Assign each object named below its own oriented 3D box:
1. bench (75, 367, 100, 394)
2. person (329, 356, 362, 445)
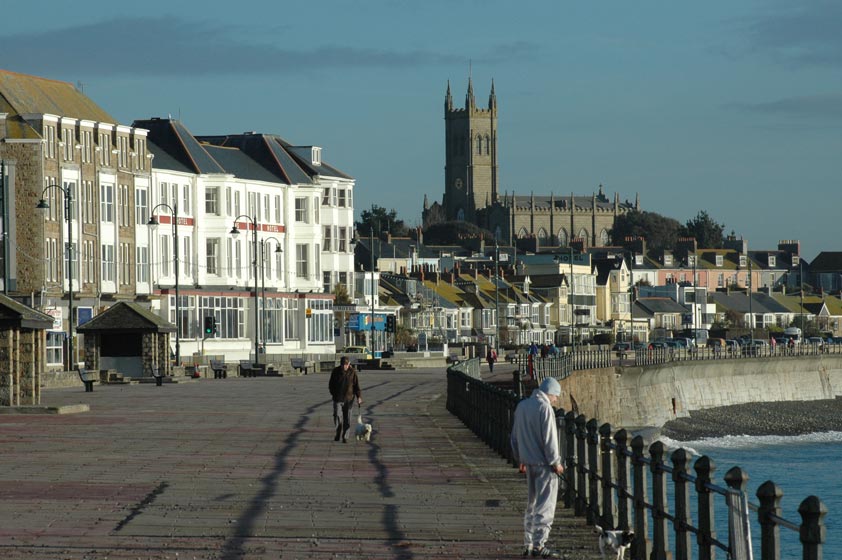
[{"bbox_3d":[-14.453,4.489,77.456,1.117,1.466,1.179,-1,-2,21],"label":"bench"},{"bbox_3d":[-2.475,3.929,57.503,1.069,2.663,1.154,0,-1,1],"label":"person"}]
